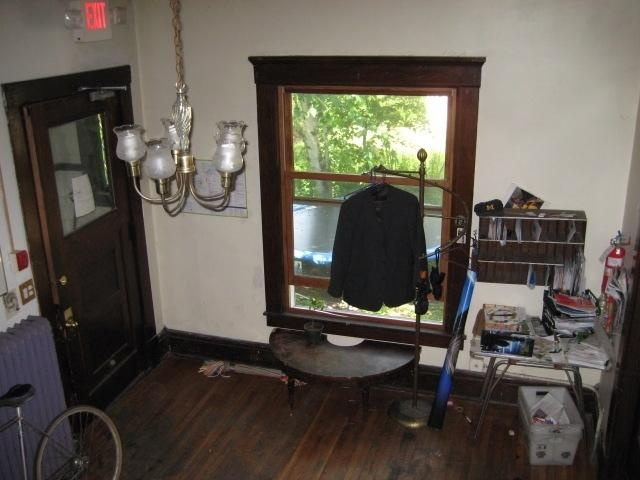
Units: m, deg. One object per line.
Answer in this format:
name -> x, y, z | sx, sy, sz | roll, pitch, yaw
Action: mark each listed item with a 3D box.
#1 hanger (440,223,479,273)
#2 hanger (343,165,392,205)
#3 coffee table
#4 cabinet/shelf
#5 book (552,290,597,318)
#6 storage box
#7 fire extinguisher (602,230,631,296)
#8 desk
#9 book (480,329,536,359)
hanger -> 1.108, 0.060, 4.018 | 0.330, 0.329, 0.083 | 7, 14, 5
hanger -> 0.352, -0.449, 4.046 | 0.346, 0.311, 0.405 | 1, 16, 5
coffee table -> 0.146, 0.950, 4.259 | 1.223, 0.348, 0.530 | 2, 17, 9
cabinet/shelf -> 1.614, 0.027, 3.891 | 0.516, 0.422, 0.192 | 1, 12, 11
book -> 1.871, 0.472, 3.813 | 0.194, 0.072, 0.204 | -1, 20, 0
storage box -> 1.751, 1.361, 3.983 | 0.401, 0.377, 0.558 | 1, 19, 11
fire extinguisher -> 2.115, 0.180, 3.762 | 0.155, 0.464, 0.317 | 7, 18, 26
desk -> 1.700, 0.841, 4.128 | 1.080, 0.886, 0.852 | 2, 11, 15
book -> 1.365, 0.754, 3.792 | 0.360, 0.148, 0.104 | 3, 16, 11
